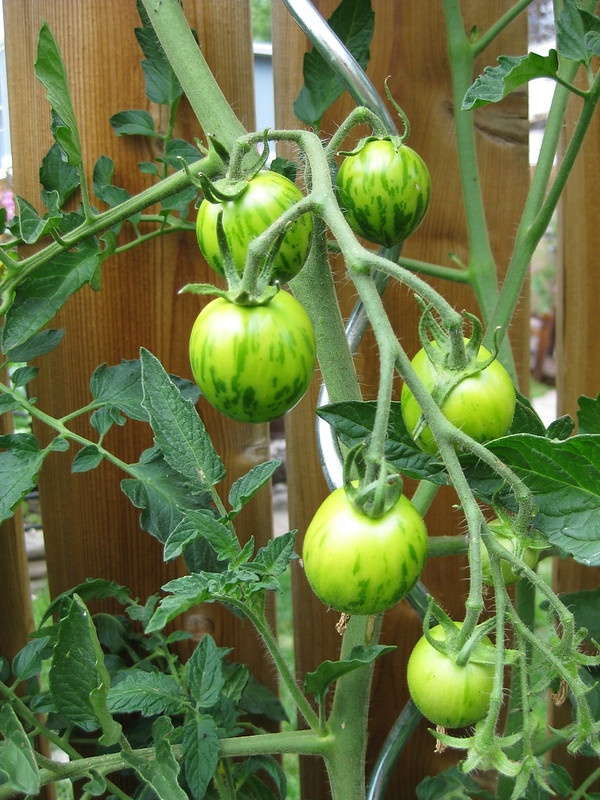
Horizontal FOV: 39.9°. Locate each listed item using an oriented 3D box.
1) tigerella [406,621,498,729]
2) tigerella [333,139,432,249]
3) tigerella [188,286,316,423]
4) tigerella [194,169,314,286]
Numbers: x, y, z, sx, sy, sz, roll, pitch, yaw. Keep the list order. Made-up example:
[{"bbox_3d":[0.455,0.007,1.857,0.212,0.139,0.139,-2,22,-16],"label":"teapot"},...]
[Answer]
[{"bbox_3d":[0.090,0.168,0.487,0.050,0.059,0.031,-10,-2,8],"label":"tigerella"},{"bbox_3d":[0.068,-0.152,0.606,0.074,0.084,0.072,-3,7,-5],"label":"tigerella"},{"bbox_3d":[-0.038,-0.041,0.568,0.081,0.095,0.081,13,22,36],"label":"tigerella"},{"bbox_3d":[-0.026,-0.111,0.524,0.077,0.071,0.103,-10,-3,-5],"label":"tigerella"}]
